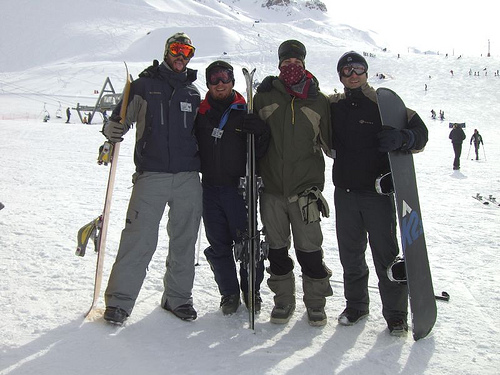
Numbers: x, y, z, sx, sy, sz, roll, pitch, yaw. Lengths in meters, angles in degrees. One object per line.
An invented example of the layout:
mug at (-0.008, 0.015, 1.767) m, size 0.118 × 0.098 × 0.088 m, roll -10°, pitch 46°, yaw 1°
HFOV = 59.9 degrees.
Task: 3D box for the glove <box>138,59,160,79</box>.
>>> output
glove at (-0.902, -1.060, 3.951) m, size 0.078 × 0.188 × 0.144 m, roll 19°, pitch -22°, yaw 16°

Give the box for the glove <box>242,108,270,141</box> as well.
glove at (0.063, -0.558, 3.957) m, size 0.222 × 0.246 × 0.360 m, roll 4°, pitch 14°, yaw 8°

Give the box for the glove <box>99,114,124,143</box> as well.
glove at (-1.193, -0.517, 3.810) m, size 0.244 × 0.143 × 0.322 m, roll 0°, pitch -8°, yaw -33°

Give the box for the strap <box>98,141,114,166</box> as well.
strap at (-1.261, -0.301, 3.777) m, size 0.135 × 0.196 × 0.069 m, roll 9°, pitch 8°, yaw 8°

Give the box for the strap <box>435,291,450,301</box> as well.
strap at (1.904, 1.059, 4.307) m, size 0.130 × 0.058 × 0.142 m, roll 8°, pitch 15°, yaw 23°

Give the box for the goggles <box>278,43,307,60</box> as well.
goggles at (0.389, -1.278, 4.082) m, size 0.257 × 0.150 × 0.192 m, roll 2°, pitch 14°, yaw 3°

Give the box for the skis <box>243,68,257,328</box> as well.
skis at (-0.056, 0.112, 3.799) m, size 0.121 × 2.243 × 0.243 m, roll 1°, pitch 6°, yaw 4°

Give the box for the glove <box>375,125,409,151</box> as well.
glove at (1.191, -0.467, 3.678) m, size 0.277 × 0.122 × 0.220 m, roll 12°, pitch -28°, yaw 14°

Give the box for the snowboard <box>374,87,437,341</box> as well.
snowboard at (1.319, 0.356, 3.828) m, size 0.434 × 2.520 × 0.253 m, roll -5°, pitch -1°, yaw -24°

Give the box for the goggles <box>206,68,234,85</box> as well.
goggles at (-0.287, -1.040, 4.066) m, size 0.256 × 0.153 × 0.148 m, roll 0°, pitch 14°, yaw -7°

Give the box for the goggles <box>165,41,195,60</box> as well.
goggles at (-0.636, -1.251, 3.960) m, size 0.280 × 0.158 × 0.180 m, roll -5°, pitch 15°, yaw -24°

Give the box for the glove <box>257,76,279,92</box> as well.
glove at (0.148, -0.975, 4.099) m, size 0.123 × 0.176 × 0.067 m, roll -5°, pitch -27°, yaw 16°
